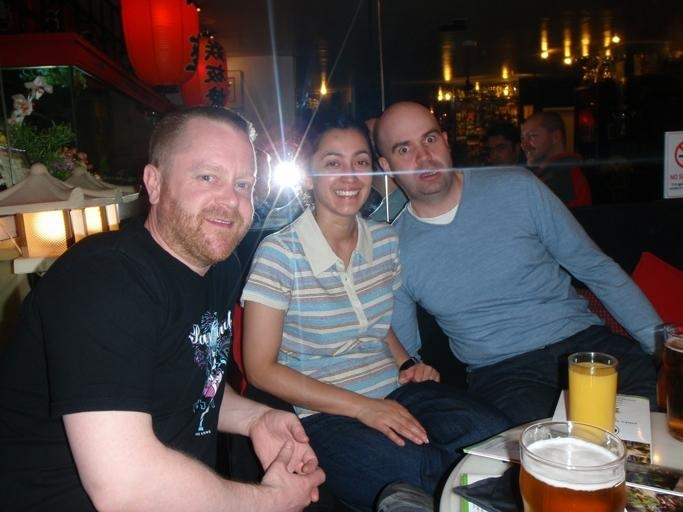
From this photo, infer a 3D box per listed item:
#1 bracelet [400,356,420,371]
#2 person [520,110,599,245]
[{"bbox_3d":[0.275,0.437,2.268,0.063,0.044,0.070,-34,-10,9],"label":"bracelet"},{"bbox_3d":[1.633,-0.741,4.226,0.459,0.707,0.936,-2,7,5],"label":"person"}]
